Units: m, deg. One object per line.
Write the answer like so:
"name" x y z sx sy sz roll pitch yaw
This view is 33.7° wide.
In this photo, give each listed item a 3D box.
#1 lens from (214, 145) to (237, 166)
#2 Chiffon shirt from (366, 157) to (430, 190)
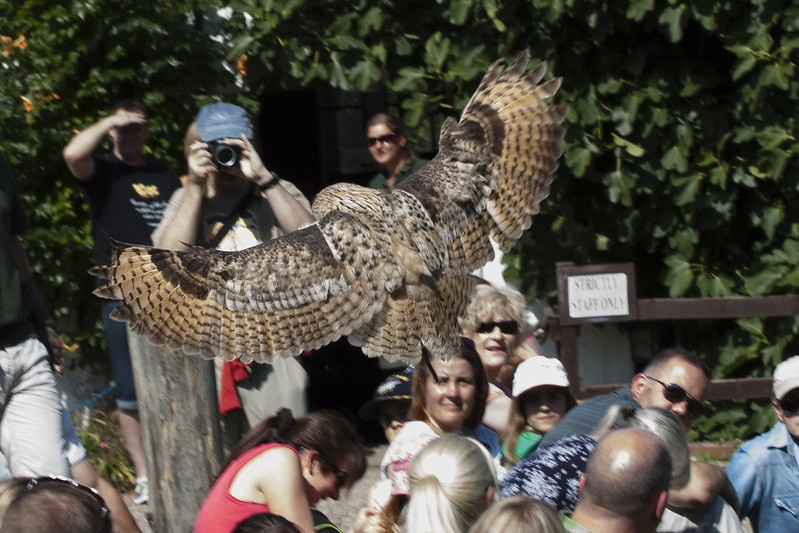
"lens" -1.157 -0.732 8.919 0.144 0.142 0.203 -6 2 -2
"Chiffon shirt" 0.012 -0.754 10.704 0.481 0.209 0.218 -30 -6 19
